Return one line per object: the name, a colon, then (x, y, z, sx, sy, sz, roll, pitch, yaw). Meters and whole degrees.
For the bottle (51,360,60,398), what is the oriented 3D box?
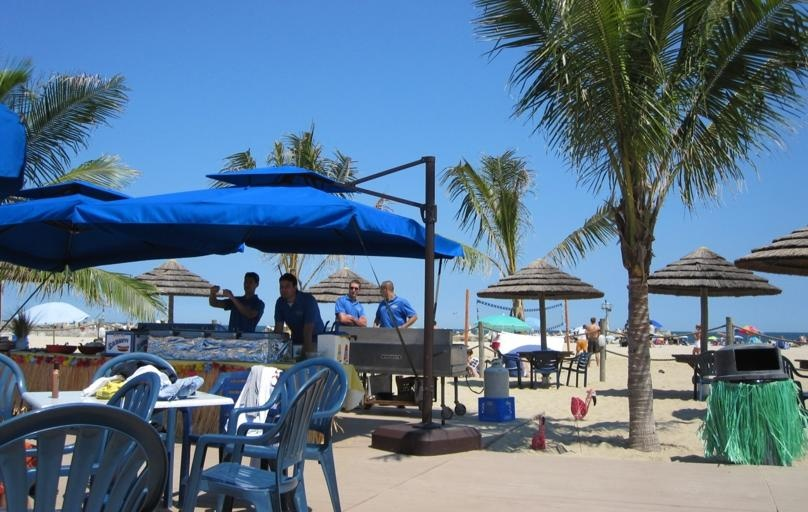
bottle: (-3.743, 1.336, 8.126, 0.075, 0.368, 0.245, 6, -10, -23)

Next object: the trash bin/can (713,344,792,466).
trash bin/can: (4.945, 2.206, 11.293, 1.476, 1.766, 1.445, 0, -12, 3)

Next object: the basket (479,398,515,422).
basket: (1.723, 2.862, 14.078, 0.494, 0.413, 0.513, -6, -8, 35)

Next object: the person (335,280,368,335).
person: (-0.979, 0.871, 14.268, 0.546, 1.022, 1.352, 3, -10, -3)

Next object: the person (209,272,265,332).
person: (-2.766, 0.759, 12.421, 0.810, 0.924, 0.450, 1, -10, 9)

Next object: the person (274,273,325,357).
person: (-1.645, 0.920, 11.649, 0.786, 1.328, 0.786, 3, -10, -1)

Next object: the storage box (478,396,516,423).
storage box: (1.744, 2.850, 14.072, 0.498, 0.420, 0.519, -6, -8, 34)
